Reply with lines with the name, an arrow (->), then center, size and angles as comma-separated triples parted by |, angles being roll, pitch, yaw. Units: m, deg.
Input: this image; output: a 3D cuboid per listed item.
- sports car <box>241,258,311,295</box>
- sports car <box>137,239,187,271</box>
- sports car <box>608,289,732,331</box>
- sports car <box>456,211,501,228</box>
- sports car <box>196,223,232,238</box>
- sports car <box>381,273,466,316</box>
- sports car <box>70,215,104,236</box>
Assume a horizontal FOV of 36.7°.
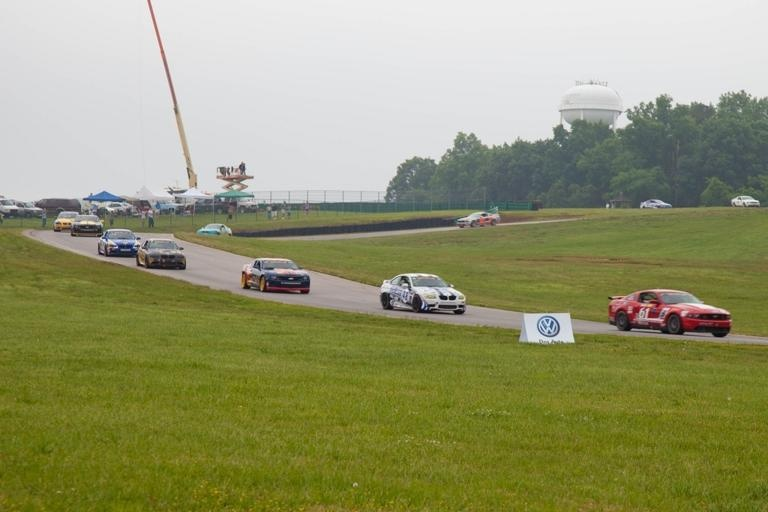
sports car -> -4.577, 0.808, 48.834 | 2.320, 1.277, 3.785 | 2, 1, -21
sports car -> -10.377, -0.011, 53.916 | 1.427, 0.919, 3.085 | 0, -2, -17
sports car -> 10.426, 1.930, 38.943 | 2.522, 1.798, 4.698 | 1, -2, -1
sports car -> 8.915, -3.250, 103.983 | 3.114, 0.991, 1.608 | -1, 0, -44
sports car -> -12.211, -1.869, 84.314 | 1.321, 0.871, 2.880 | -1, -4, 9
sports car -> 1.380, 1.392, 44.108 | 2.055, 1.400, 4.216 | 2, -1, -24
sports car -> -18.478, -1.858, 72.063 | 1.544, 0.942, 2.541 | -1, -2, -17
